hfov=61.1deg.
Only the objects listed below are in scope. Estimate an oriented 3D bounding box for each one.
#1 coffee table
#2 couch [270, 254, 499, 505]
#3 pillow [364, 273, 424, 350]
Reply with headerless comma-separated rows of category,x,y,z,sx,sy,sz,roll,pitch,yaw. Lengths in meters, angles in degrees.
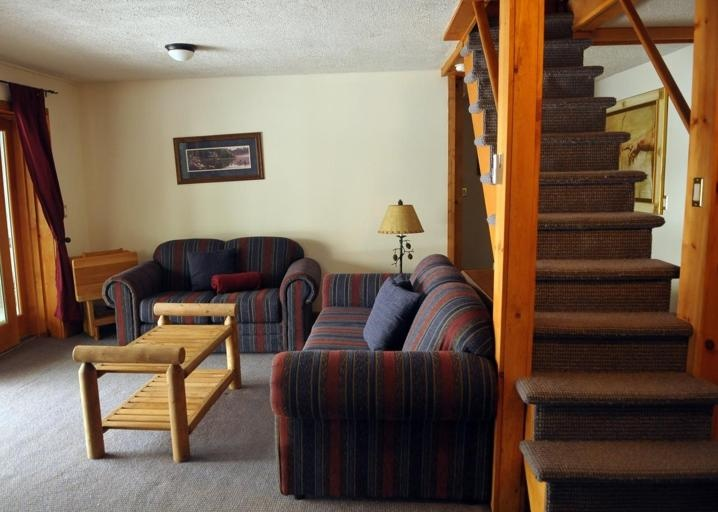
coffee table,-1.446,0.913,4.652,0.819,0.914,1.125,-1,8,8
couch,0.192,0.301,4.184,1.217,1.191,2.580,1,4,4
pillow,0.213,0.360,4.578,0.373,0.606,0.837,0,-5,-12
